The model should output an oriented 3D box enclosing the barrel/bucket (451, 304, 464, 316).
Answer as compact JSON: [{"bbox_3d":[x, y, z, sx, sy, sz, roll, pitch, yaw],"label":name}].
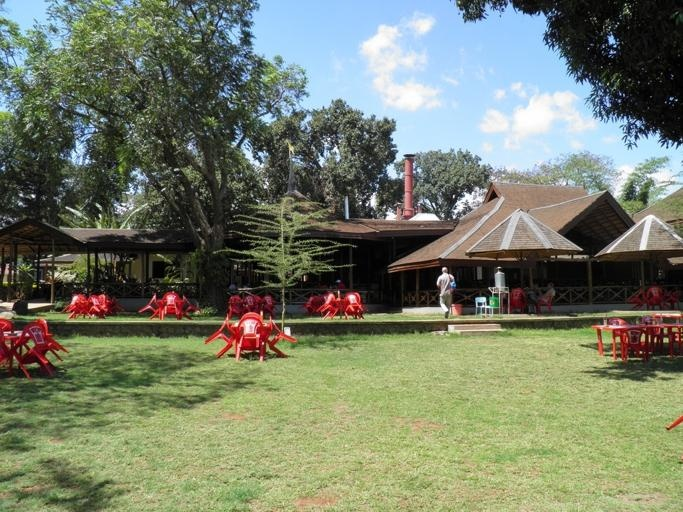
[{"bbox_3d":[5.584,2.609,24.855,0.530,0.363,0.519,0,-7,0],"label":"barrel/bucket"}]

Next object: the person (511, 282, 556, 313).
[{"bbox_3d":[8.868,2.036,24.069,1.631,0.807,2.211,0,1,7],"label":"person"}]

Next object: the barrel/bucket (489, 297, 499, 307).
[{"bbox_3d":[6.755,2.037,22.725,0.335,0.493,0.577,-1,-1,30],"label":"barrel/bucket"}]

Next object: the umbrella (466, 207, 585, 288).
[{"bbox_3d":[7.905,-0.336,23.027,3.883,3.544,3.891,-1,5,-19],"label":"umbrella"}]
